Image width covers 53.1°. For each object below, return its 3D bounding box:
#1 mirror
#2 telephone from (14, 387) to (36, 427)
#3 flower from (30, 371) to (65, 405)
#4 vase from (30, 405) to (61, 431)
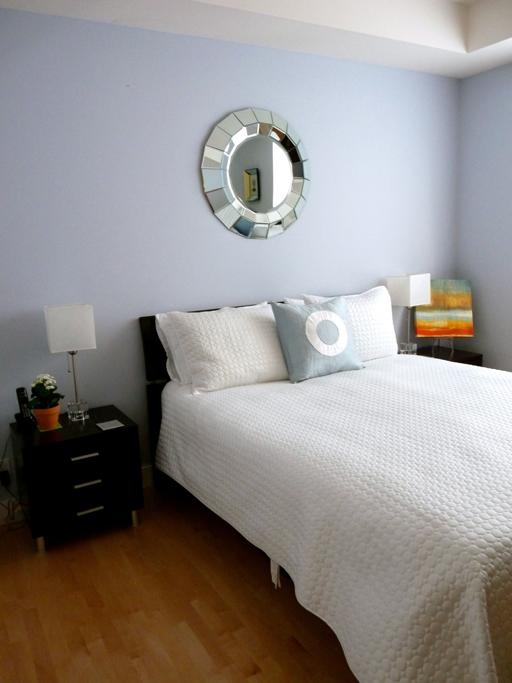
[{"bbox_3d":[-0.026,-0.961,2.885,0.732,0.762,0.038,-6,5,-39],"label":"mirror"},{"bbox_3d":[-1.040,0.307,2.285,0.071,0.250,0.062,-11,-9,-11],"label":"telephone"},{"bbox_3d":[-0.916,0.209,2.238,0.135,0.160,0.073,7,-3,-25],"label":"flower"},{"bbox_3d":[-0.888,0.312,2.178,0.104,0.092,0.107,-1,0,-27],"label":"vase"}]
